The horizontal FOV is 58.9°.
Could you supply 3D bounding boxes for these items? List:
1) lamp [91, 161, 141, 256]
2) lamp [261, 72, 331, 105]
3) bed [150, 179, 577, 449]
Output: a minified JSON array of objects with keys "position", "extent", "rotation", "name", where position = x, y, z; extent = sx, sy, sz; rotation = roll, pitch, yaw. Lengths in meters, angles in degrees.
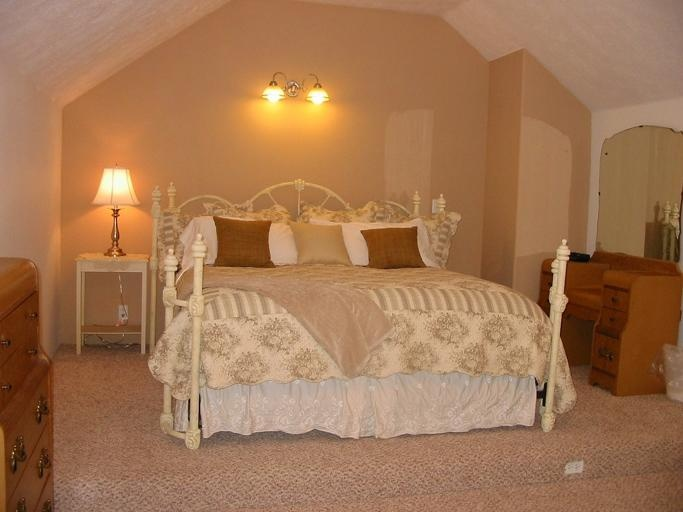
[{"position":[-1.879,-0.381,5.089],"extent":[0.345,0.739,0.396],"rotation":[-7,11,-18],"name":"lamp"},{"position":[-0.409,-1.505,5.404],"extent":[0.604,0.308,0.246],"rotation":[-5,10,-4],"name":"lamp"},{"position":[0.047,0.352,4.293],"extent":[1.634,1.088,1.696],"rotation":[-1,7,-7],"name":"bed"}]
